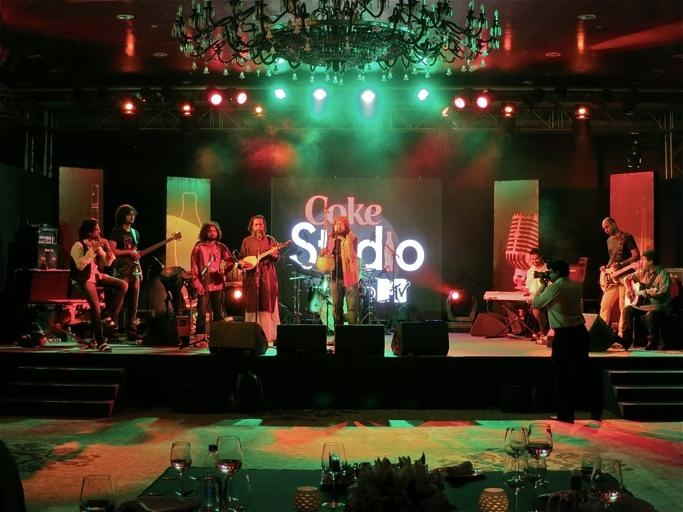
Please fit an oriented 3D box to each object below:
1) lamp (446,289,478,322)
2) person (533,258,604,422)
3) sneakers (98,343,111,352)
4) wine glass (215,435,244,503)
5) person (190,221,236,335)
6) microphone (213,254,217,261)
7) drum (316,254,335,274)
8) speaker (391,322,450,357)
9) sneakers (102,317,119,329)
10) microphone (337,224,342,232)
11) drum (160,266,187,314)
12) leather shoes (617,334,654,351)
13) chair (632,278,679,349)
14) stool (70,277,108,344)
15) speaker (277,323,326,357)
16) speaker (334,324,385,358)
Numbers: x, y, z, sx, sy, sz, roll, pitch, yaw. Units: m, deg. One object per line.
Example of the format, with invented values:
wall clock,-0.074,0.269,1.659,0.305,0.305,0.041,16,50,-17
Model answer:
lamp,2.595,1.110,15.084,0.618,0.733,0.263,1,-11,-5
person,2.948,1.150,9.013,0.705,2.174,0.752,7,13,34
sneakers,-3.465,1.348,10.239,0.096,0.096,0.223,3,-8,-25
wine glass,-0.739,1.387,4.551,0.159,0.460,0.257,-5,11,-19
person,-2.043,0.430,11.273,0.686,1.862,0.674,-3,11,-11
microphone,-2.008,0.038,11.151,0.021,0.084,0.090,-10,-9,40
drum,-0.242,0.148,11.259,0.263,0.275,0.253,10,-15,-42
speaker,1.116,1.080,9.929,0.630,0.437,0.504,2,0,-5
sneakers,-3.763,1.106,11.356,0.348,0.144,0.129,1,0,39
microphone,-0.031,-0.453,11.279,0.071,0.104,0.025,1,7,1
drum,-2.763,0.552,11.571,0.393,0.845,0.910,-3,11,-12
leather shoes,4.660,1.387,11.107,0.630,0.255,0.195,4,-4,-3
chair,5.005,0.867,11.182,0.816,1.278,0.777,4,12,24
stool,-3.678,0.842,10.289,0.312,0.984,0.597,-5,12,-22
speaker,-0.539,1.171,9.665,0.738,0.415,0.507,1,-7,4
speaker,0.269,1.171,9.480,0.584,0.461,0.395,1,-1,-1
